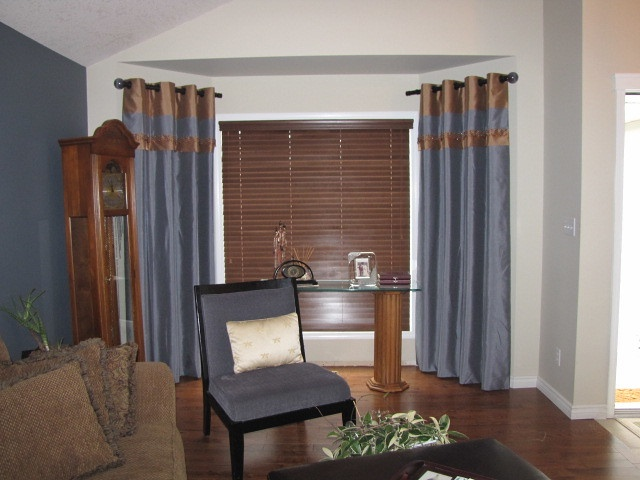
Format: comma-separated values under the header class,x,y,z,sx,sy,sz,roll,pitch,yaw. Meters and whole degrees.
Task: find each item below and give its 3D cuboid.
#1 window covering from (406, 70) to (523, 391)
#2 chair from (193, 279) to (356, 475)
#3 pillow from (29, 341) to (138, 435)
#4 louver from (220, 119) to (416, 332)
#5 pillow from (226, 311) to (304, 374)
class,x,y,z,sx,sy,sz,roll,pitch,yaw
window covering,1.191,-0.053,4.832,0.852,2.571,0.429,0,8,20
chair,-0.415,0.840,4.212,1.125,1.453,1.205,-2,-2,-28
pillow,-1.370,0.913,3.333,0.160,0.531,0.542,-20,-12,18
louver,-0.032,-0.229,5.088,1.914,1.914,0.162,0,2,-1
pillow,-0.365,0.788,4.147,0.530,0.245,0.848,-6,12,-11
